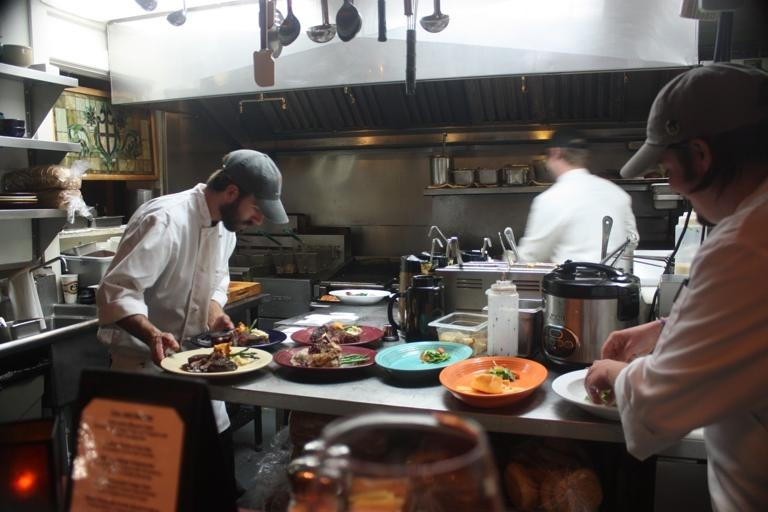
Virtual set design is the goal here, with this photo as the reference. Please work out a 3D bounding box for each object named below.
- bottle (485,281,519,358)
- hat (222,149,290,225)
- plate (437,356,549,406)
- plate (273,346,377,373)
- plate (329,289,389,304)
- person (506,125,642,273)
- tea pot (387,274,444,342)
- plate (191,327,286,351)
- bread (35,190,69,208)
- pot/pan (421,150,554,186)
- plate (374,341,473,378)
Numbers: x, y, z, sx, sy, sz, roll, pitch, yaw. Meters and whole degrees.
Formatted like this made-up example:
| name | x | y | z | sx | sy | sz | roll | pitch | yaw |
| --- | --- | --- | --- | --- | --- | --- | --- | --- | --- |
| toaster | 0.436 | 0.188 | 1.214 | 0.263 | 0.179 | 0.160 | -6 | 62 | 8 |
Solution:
| name | x | y | z | sx | sy | sz | roll | pitch | yaw |
| --- | --- | --- | --- | --- | --- | --- | --- | --- | --- |
| bottle | 0.459 | 0.235 | 2.079 | 0.140 | 0.284 | 0.112 | 0 | 6 | -1 |
| hat | -0.621 | -0.377 | 2.708 | 0.456 | 0.235 | 0.282 | 37 | 7 | -9 |
| plate | 0.368 | 0.423 | 1.846 | 0.382 | 0.097 | 0.288 | -4 | 7 | -42 |
| plate | -0.222 | 0.385 | 2.077 | 0.401 | 0.077 | 0.314 | 0 | 5 | -10 |
| plate | -0.167 | 0.267 | 3.410 | 0.384 | 0.072 | 0.250 | 1 | 5 | 7 |
| person | 1.273 | -0.275 | 3.718 | 0.728 | 1.014 | 0.854 | 10 | 9 | 3 |
| tea pot | 0.154 | 0.241 | 2.350 | 0.340 | 0.321 | 0.201 | -1 | 1 | 15 |
| plate | -0.645 | 0.327 | 2.373 | 0.277 | 0.096 | 0.409 | 4 | 4 | 32 |
| bread | -1.908 | -0.319 | 3.113 | 0.128 | 0.085 | 0.120 | 0 | -5 | 14 |
| pot/pan | 0.945 | -0.780 | 5.181 | 0.674 | 0.142 | 0.581 | 1 | 4 | 6 |
| plate | 0.126 | 0.349 | 2.085 | 0.360 | 0.095 | 0.304 | -1 | 8 | -16 |
